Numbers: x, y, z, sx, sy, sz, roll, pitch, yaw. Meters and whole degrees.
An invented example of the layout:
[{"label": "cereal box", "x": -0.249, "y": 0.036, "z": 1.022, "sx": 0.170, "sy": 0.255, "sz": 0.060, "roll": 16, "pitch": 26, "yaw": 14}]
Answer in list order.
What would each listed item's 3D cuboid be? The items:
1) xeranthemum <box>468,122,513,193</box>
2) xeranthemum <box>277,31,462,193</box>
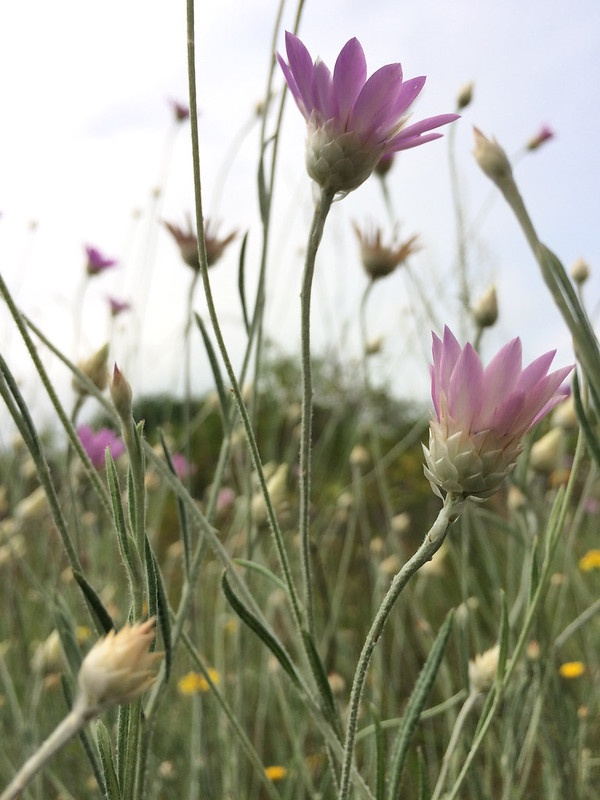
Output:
[{"label": "xeranthemum", "x": 0.115, "y": -0.148, "z": 0.526, "sx": 0.020, "sy": 0.040, "sz": 0.066, "roll": -10, "pitch": 2, "yaw": 14}, {"label": "xeranthemum", "x": 0.026, "y": -0.159, "z": 0.499, "sx": 0.059, "sy": 0.074, "sz": 0.091, "roll": 3, "pitch": -9, "yaw": -4}]
